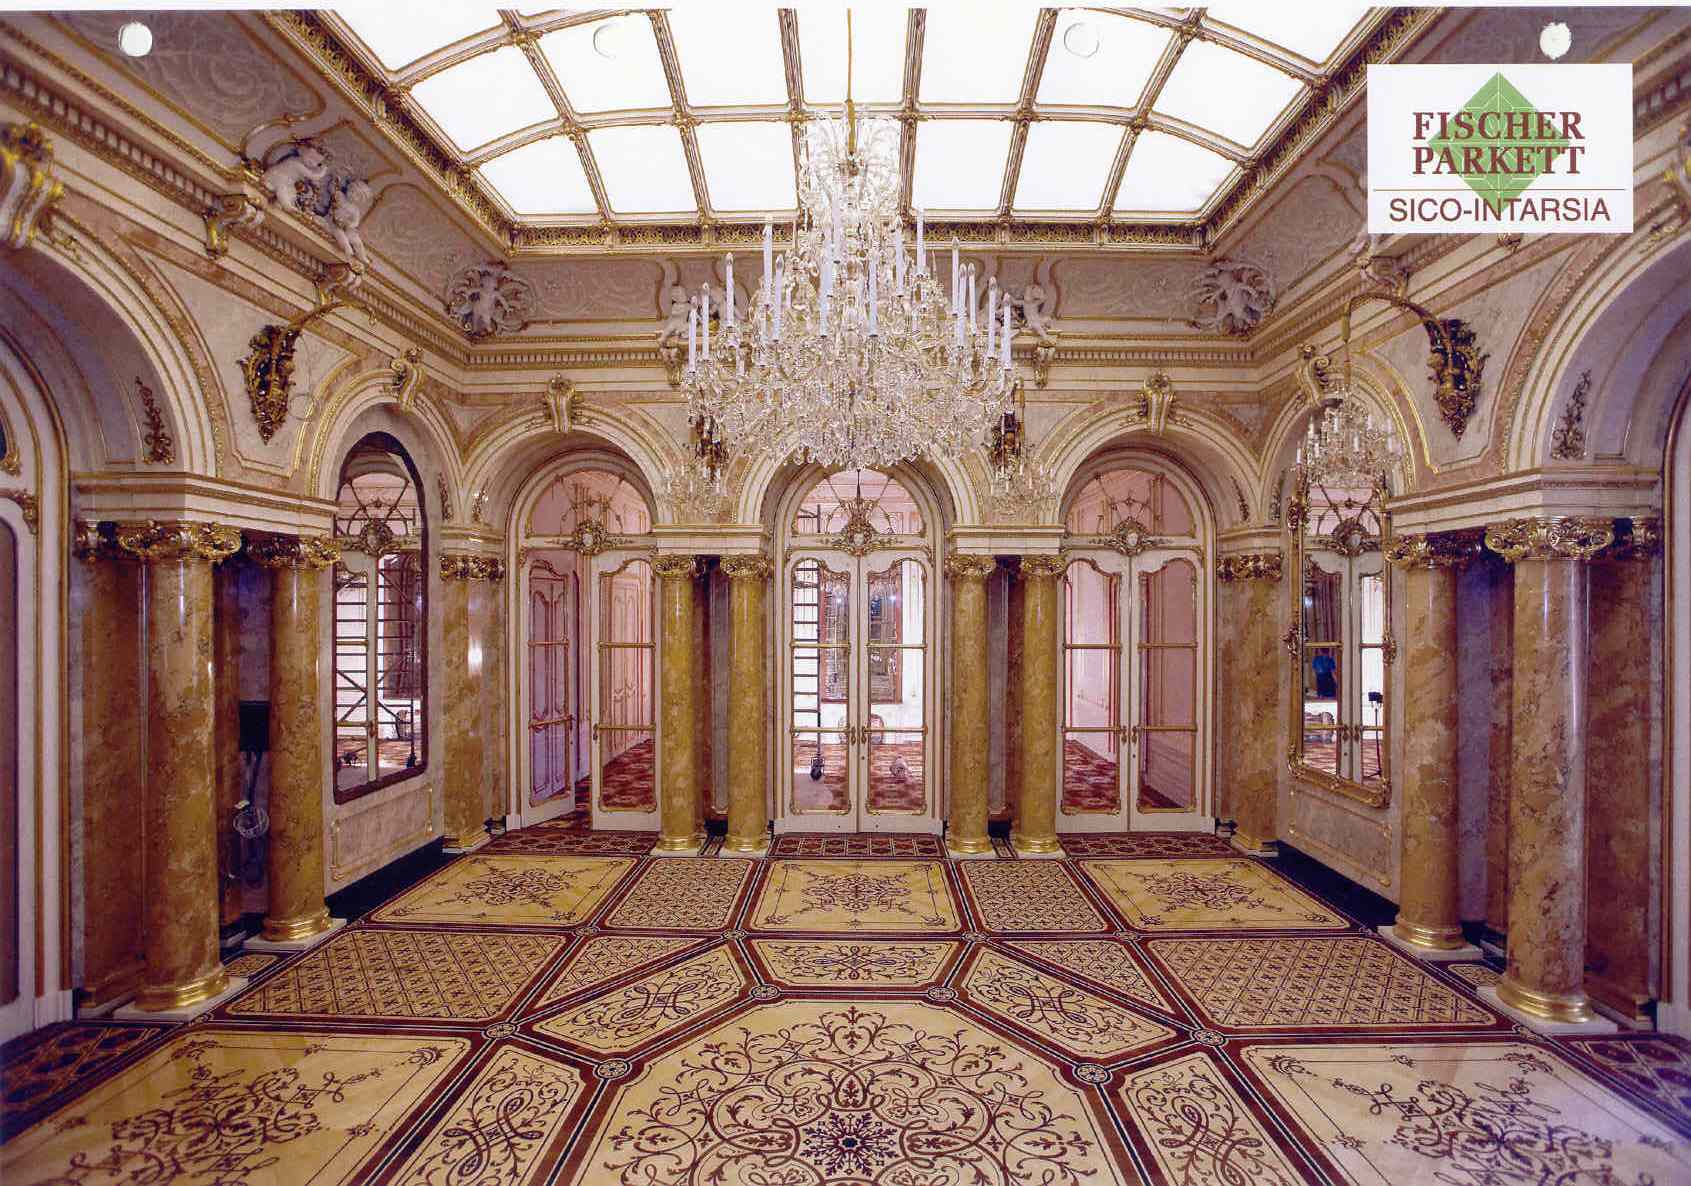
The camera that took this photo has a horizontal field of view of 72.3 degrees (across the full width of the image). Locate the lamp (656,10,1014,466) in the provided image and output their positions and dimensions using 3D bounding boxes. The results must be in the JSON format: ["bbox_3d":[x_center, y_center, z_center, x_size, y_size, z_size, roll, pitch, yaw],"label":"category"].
[{"bbox_3d":[0.055,-2.378,8.419,2.223,2.683,1.105,-1,-2,6],"label":"lamp"}]

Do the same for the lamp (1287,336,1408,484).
[{"bbox_3d":[4.137,-1.543,9.512,0.774,1.286,1.202,-2,-2,23],"label":"lamp"}]
